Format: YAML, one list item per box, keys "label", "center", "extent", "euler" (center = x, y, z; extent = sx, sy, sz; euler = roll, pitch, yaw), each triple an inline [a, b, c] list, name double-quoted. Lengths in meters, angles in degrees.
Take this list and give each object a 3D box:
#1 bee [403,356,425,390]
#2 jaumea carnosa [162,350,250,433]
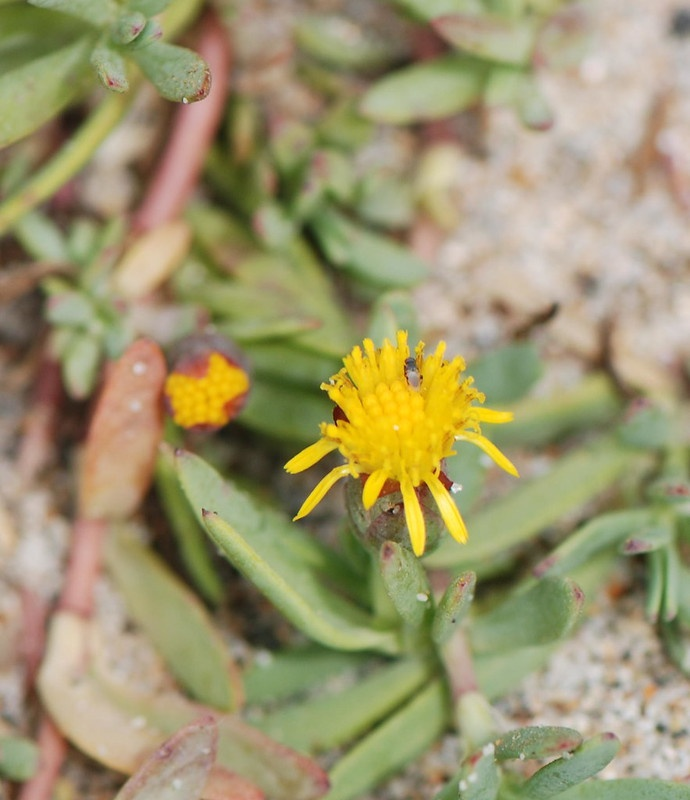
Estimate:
- label: "bee"
  center: [0.094, -0.037, 1.233]
  extent: [0.036, 0.015, 0.039]
  euler: [2, 65, -23]
- label: "jaumea carnosa"
  center: [-0.213, -0.013, 1.414]
  extent: [0.138, 0.086, 0.100]
  euler: [-32, 76, -5]
